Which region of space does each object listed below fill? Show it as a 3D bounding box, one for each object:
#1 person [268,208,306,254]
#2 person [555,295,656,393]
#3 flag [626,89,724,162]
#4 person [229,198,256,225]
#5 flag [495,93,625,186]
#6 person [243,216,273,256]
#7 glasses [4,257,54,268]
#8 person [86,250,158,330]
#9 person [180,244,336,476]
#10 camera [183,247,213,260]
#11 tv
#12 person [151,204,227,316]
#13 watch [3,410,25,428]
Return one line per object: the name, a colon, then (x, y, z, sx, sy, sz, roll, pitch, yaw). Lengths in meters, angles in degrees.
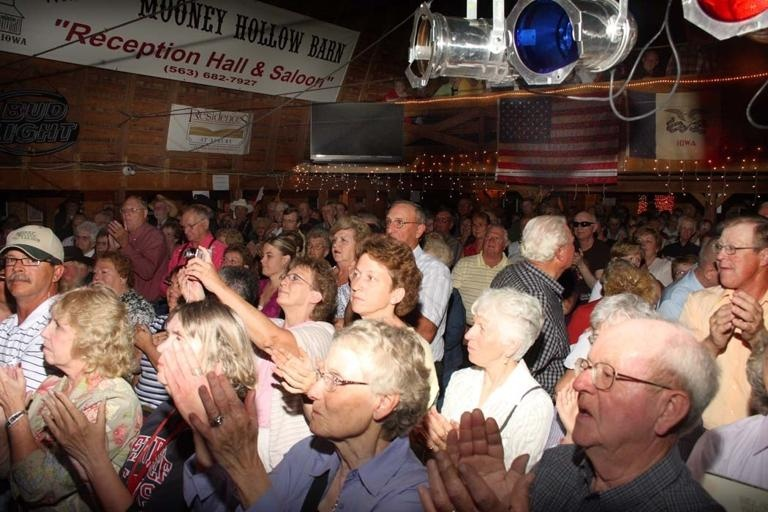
person: (-1.570, -0.180, 8.499, 0.526, 1.182, 0.467, 7, 1, -10)
person: (1.314, 0.519, 3.068, 0.258, 0.285, 0.738, -5, -20, -22)
flag: (6.532, -3.056, 11.742, 2.268, 1.738, 0.125, 0, -3, 4)
person: (-3.418, -1.101, 12.748, 0.756, 0.789, 0.320, 3, 10, 24)
flag: (4.152, -2.700, 11.980, 3.370, 2.319, 0.175, 5, 16, 22)
person: (-2.502, -0.425, 10.338, 0.570, 0.761, 0.419, 11, 3, -21)
glasses: (-2.867, 0.040, 4.084, 0.281, 0.067, 0.075, 1, 4, 5)
person: (-2.400, 0.292, 4.724, 0.774, 0.624, 0.399, -7, -4, 41)
person: (-0.757, 0.647, 3.132, 0.722, 1.561, 0.629, 13, -39, -20)
camera: (-1.193, -0.016, 3.242, 0.114, 0.053, 0.150, 4, -6, -40)
tv: (-0.728, -3.424, 14.420, 2.746, 1.724, 0.259, 5, 10, 13)
person: (-2.541, 0.050, 6.919, 0.959, 1.432, 0.875, 4, 3, 23)
watch: (-2.167, 0.946, 3.021, 0.110, 0.066, 0.113, -27, -26, 26)
